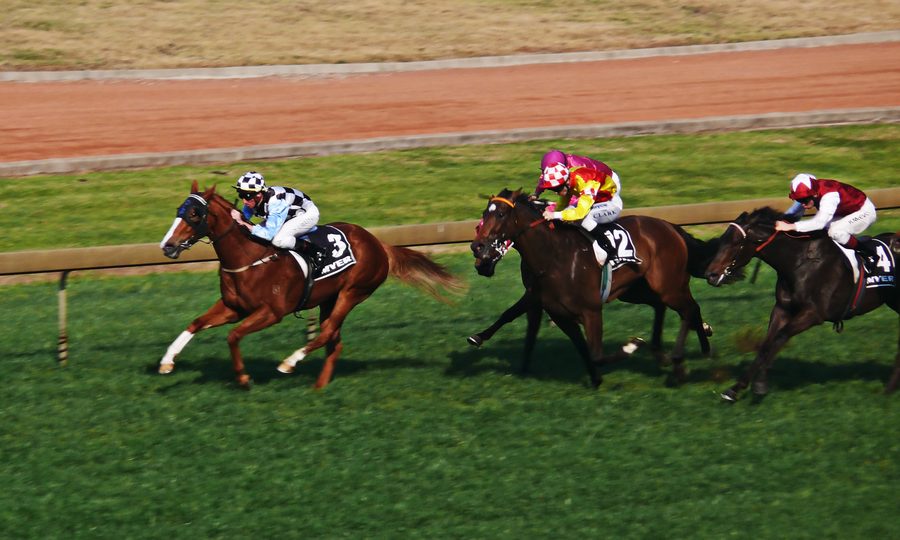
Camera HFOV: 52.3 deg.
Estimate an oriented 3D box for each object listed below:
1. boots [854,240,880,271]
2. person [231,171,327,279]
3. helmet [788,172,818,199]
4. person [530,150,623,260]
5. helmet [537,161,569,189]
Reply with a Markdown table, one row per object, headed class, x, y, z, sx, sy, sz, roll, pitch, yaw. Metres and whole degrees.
| class | x | y | z | sx | sy | sz | roll | pitch | yaw |
| --- | --- | --- | --- | --- | --- | --- | --- | --- | --- |
| boots | 4.665 | -0.162 | 10.267 | 0.325 | 0.310 | 0.143 | -10 | -16 | 1 |
| person | -1.938 | -0.503 | 10.352 | 0.946 | 1.223 | 0.454 | -7 | 17 | -8 |
| helmet | 3.914 | -0.944 | 10.184 | 0.349 | 0.167 | 0.351 | -9 | 33 | 25 |
| person | 1.457 | -0.737 | 10.356 | 0.929 | 1.226 | 0.748 | -3 | 16 | 7 |
| helmet | 1.174 | -1.052 | 10.164 | 0.322 | 0.154 | 0.339 | -12 | 27 | 20 |
